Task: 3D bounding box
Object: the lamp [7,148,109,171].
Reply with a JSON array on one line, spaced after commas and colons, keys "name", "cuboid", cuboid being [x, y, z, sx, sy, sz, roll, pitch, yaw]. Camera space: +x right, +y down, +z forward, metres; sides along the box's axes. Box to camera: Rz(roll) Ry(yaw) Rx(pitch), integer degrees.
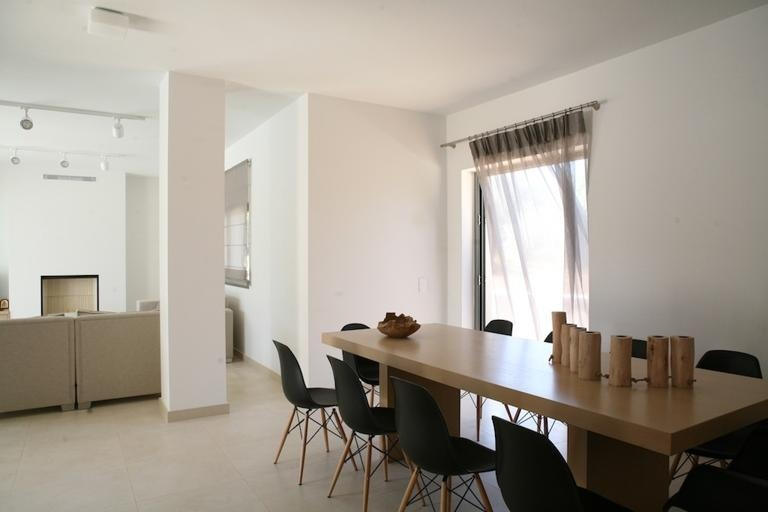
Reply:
[{"name": "lamp", "cuboid": [-5.782, -1.723, 9.253, 1.480, 0.385, 2.510, -8, 13, -34]}]
